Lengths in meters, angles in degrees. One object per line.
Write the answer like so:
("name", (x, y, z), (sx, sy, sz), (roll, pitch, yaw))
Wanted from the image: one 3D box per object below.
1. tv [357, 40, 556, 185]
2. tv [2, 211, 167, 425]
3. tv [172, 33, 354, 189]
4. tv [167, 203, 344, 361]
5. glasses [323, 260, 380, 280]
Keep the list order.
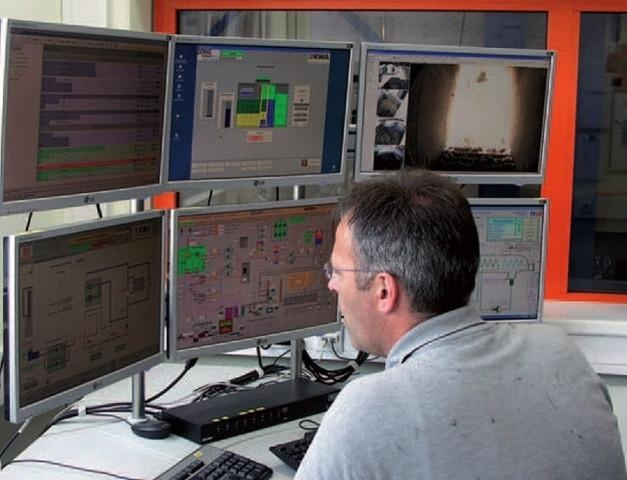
("tv", (0.538, -0.463, 2.213), (0.774, 0.457, 0.021), (-1, 11, -15))
("tv", (-0.633, 0.219, 1.659), (0.073, 0.567, 0.706), (5, 8, 37))
("tv", (-0.168, -0.412, 1.923), (0.632, 0.439, 0.026), (-6, 21, -29))
("tv", (-0.200, 0.118, 1.950), (0.554, 0.384, 0.022), (-8, 14, -33))
("glasses", (0.072, 0.068, 1.279), (0.071, 0.021, 0.070), (2, 4, 20))
